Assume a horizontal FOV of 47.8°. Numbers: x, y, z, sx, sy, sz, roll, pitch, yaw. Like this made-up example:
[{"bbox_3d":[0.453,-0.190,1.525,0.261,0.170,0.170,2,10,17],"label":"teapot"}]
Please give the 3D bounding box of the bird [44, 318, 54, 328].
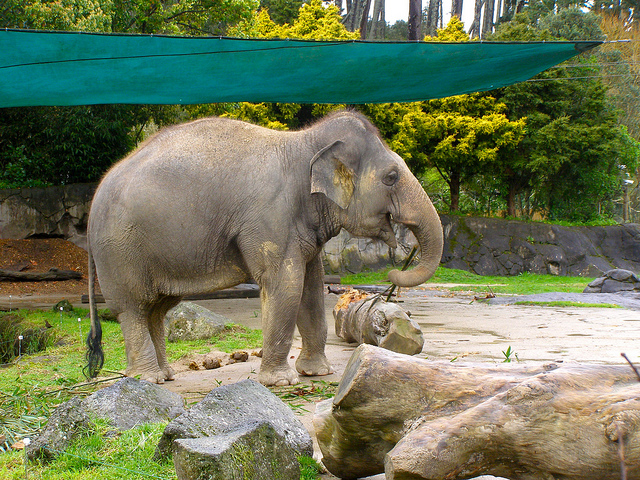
[{"bbox_3d":[-3.477,1.068,9.275,0.070,0.127,0.176,-7,7,-34],"label":"bird"}]
